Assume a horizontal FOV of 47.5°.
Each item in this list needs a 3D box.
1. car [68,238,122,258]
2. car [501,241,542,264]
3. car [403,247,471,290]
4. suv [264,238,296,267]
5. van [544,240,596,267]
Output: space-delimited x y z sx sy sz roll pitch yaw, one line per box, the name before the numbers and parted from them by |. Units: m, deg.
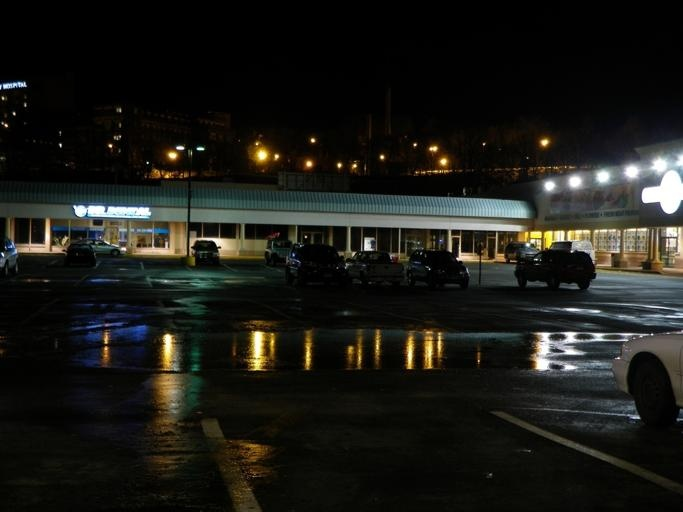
car | -19.778 -0.685 62.381 3.850 1.181 1.699 -1 3 -10
car | 14.518 -0.367 62.935 1.904 1.752 3.791 -1 -3 -26
car | 4.471 0.597 37.214 1.947 1.751 4.437 -3 3 -17
suv | -4.885 -0.364 59.860 2.061 1.759 3.159 0 4 -10
van | 13.005 -0.183 44.156 3.357 1.795 2.022 6 4 42
